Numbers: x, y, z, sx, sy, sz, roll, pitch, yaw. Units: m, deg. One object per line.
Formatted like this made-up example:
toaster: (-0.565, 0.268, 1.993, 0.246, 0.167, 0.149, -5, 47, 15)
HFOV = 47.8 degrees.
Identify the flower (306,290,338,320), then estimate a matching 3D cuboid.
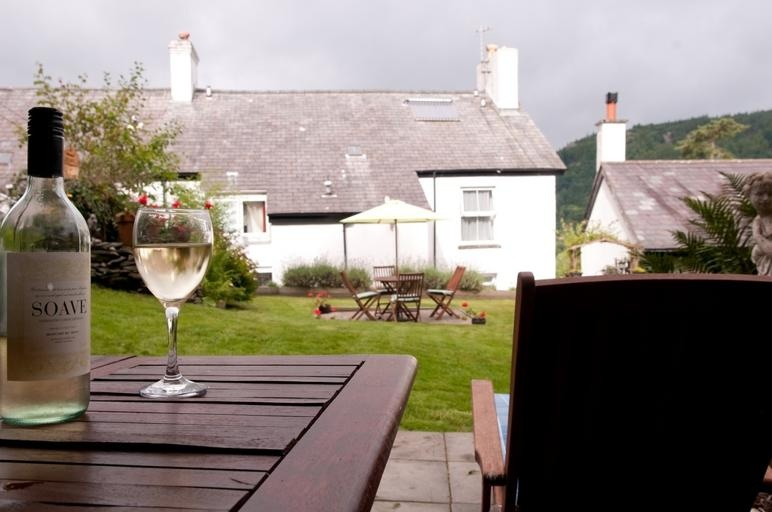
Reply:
flower: (-3.458, 2.563, 45.030, 1.096, 1.599, 1.544, 1, 3, 9)
